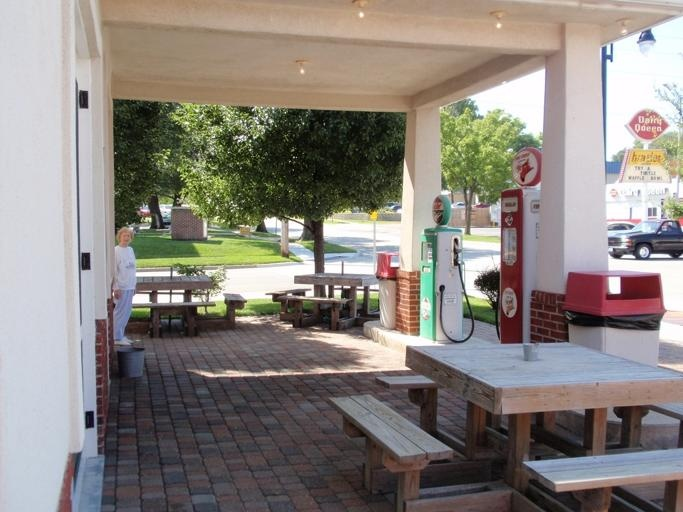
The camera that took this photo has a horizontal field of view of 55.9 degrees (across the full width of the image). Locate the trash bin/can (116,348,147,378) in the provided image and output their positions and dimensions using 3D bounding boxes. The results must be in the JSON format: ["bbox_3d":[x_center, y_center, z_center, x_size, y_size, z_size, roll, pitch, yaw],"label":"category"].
[{"bbox_3d":[-2.584,1.306,7.918,0.301,0.288,0.358,0,-5,3],"label":"trash bin/can"}]

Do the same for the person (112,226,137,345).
[{"bbox_3d":[-3.093,0.413,9.150,0.293,1.657,0.536,-1,4,-19],"label":"person"}]

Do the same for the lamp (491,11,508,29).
[{"bbox_3d":[1.611,-2.433,6.602,0.119,0.141,0.123,-1,-5,6],"label":"lamp"}]

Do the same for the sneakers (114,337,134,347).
[{"bbox_3d":[-3.076,1.213,9.094,0.214,0.072,0.167,1,0,-6],"label":"sneakers"}]

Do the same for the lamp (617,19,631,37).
[{"bbox_3d":[2.985,-2.421,6.779,0.088,0.096,0.148,3,21,18],"label":"lamp"}]

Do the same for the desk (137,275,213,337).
[{"bbox_3d":[-2.949,0.991,11.306,1.399,1.031,1.591,-1,-7,-16],"label":"desk"}]

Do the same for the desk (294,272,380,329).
[{"bbox_3d":[0.040,0.769,12.076,1.027,0.676,1.077,0,-1,15],"label":"desk"}]

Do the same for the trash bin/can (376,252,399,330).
[{"bbox_3d":[0.761,0.551,10.665,0.349,1.234,0.577,0,4,-1],"label":"trash bin/can"}]

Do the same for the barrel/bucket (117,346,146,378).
[{"bbox_3d":[-2.602,1.304,7.941,0.333,0.322,0.402,3,2,22],"label":"barrel/bucket"}]

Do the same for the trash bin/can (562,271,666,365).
[{"bbox_3d":[2.681,0.711,6.327,0.720,1.155,0.731,-1,1,-21],"label":"trash bin/can"}]
